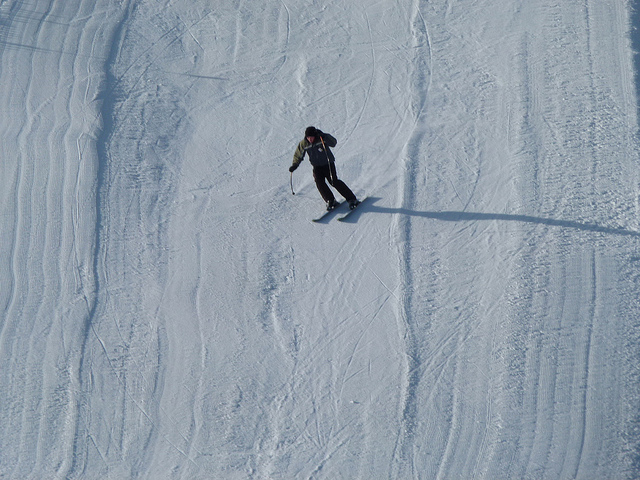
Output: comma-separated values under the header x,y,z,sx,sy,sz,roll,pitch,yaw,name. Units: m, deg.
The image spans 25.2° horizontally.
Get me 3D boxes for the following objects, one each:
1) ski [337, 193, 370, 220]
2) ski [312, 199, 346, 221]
x,y,z,sx,sy,sz,roll,pitch,yaw,name
0.673,-0.606,28.295,0.088,0.055,0.677,42,85,7,ski
0.212,-0.547,28.324,0.060,0.049,0.577,44,73,5,ski
